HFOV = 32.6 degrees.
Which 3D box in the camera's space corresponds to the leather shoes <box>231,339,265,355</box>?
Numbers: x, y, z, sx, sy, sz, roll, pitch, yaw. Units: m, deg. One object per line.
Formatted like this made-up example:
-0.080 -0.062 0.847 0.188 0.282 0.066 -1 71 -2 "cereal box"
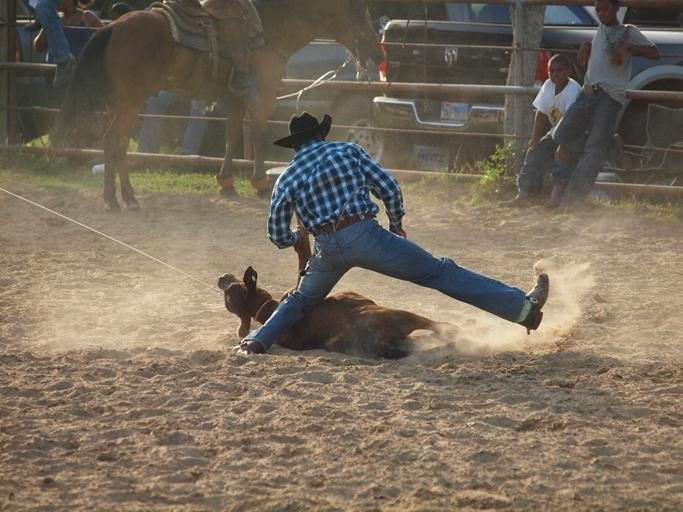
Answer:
-0.684 0.695 8.913 0.177 0.107 0.132 11 19 -13 "leather shoes"
